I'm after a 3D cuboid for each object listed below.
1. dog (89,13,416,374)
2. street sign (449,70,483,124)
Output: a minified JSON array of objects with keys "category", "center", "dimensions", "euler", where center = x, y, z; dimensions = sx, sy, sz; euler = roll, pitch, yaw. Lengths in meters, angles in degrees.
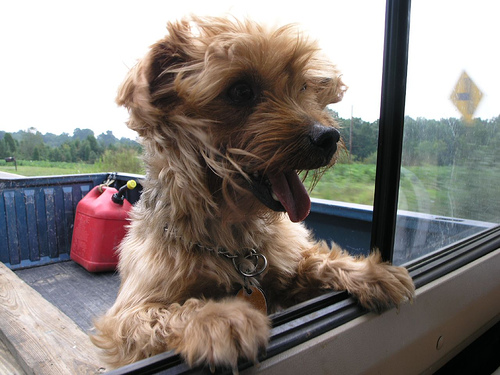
[{"category":"dog","center":[-0.061,-0.014,1.858],"dimensions":[1.344,1.542,0.902],"euler":[-3,8,-19]},{"category":"street sign","center":[1.207,-0.507,2.224],"dimensions":[0.015,0.266,0.518],"euler":[7,10,44]}]
